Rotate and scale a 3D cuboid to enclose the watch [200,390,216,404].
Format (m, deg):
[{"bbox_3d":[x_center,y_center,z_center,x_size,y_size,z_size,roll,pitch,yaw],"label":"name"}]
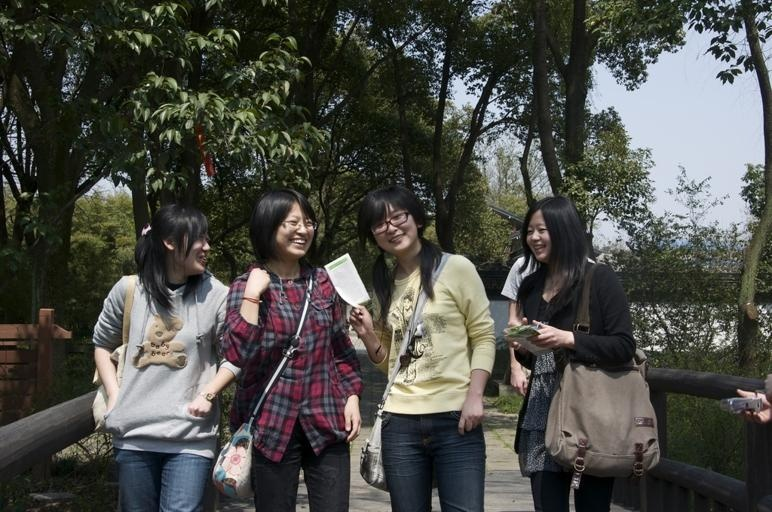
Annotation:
[{"bbox_3d":[-1.130,0.904,4.264,0.063,0.033,0.082,32,-23,-22],"label":"watch"}]

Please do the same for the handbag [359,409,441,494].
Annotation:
[{"bbox_3d":[0.057,1.270,4.452,0.272,0.496,0.361,-13,-13,42],"label":"handbag"}]

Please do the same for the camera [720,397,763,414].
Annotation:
[{"bbox_3d":[1.955,0.846,3.708,0.192,0.080,0.114,-2,1,2],"label":"camera"}]

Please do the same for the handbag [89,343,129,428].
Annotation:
[{"bbox_3d":[-1.872,0.871,4.487,0.179,0.512,0.377,10,-7,-32],"label":"handbag"}]

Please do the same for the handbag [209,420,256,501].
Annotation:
[{"bbox_3d":[-0.971,1.306,4.300,0.245,0.473,0.184,15,-12,-12],"label":"handbag"}]

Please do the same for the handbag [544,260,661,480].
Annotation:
[{"bbox_3d":[1.398,0.698,4.301,0.605,1.422,0.438,-1,8,-3],"label":"handbag"}]

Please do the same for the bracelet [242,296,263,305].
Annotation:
[{"bbox_3d":[-0.842,0.281,4.239,0.126,0.050,0.084,1,-2,-21],"label":"bracelet"}]
